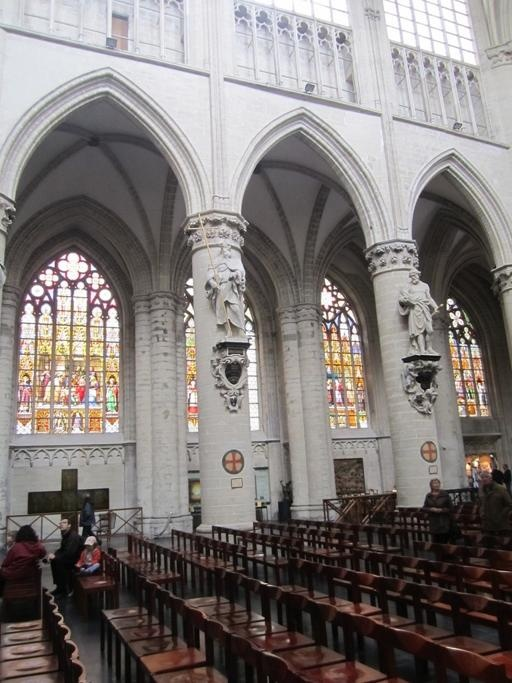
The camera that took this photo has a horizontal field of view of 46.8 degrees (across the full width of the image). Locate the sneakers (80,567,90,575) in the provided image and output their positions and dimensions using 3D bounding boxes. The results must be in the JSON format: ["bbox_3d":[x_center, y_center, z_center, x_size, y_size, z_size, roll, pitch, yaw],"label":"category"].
[{"bbox_3d":[-2.344,3.149,8.077,0.124,0.084,0.162,22,-12,-7],"label":"sneakers"}]

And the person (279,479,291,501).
[{"bbox_3d":[1.025,5.185,20.396,0.362,0.671,0.836,-6,-13,-1],"label":"person"}]

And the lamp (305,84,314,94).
[{"bbox_3d":[1.369,-6.499,15.160,0.287,0.248,0.070,-3,22,-19],"label":"lamp"}]

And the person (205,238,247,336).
[{"bbox_3d":[-0.639,-1.086,12.458,0.848,2.035,0.381,-4,-15,-9],"label":"person"}]

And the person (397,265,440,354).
[{"bbox_3d":[3.876,-0.734,14.185,0.862,2.227,0.438,-4,-15,-11],"label":"person"}]
